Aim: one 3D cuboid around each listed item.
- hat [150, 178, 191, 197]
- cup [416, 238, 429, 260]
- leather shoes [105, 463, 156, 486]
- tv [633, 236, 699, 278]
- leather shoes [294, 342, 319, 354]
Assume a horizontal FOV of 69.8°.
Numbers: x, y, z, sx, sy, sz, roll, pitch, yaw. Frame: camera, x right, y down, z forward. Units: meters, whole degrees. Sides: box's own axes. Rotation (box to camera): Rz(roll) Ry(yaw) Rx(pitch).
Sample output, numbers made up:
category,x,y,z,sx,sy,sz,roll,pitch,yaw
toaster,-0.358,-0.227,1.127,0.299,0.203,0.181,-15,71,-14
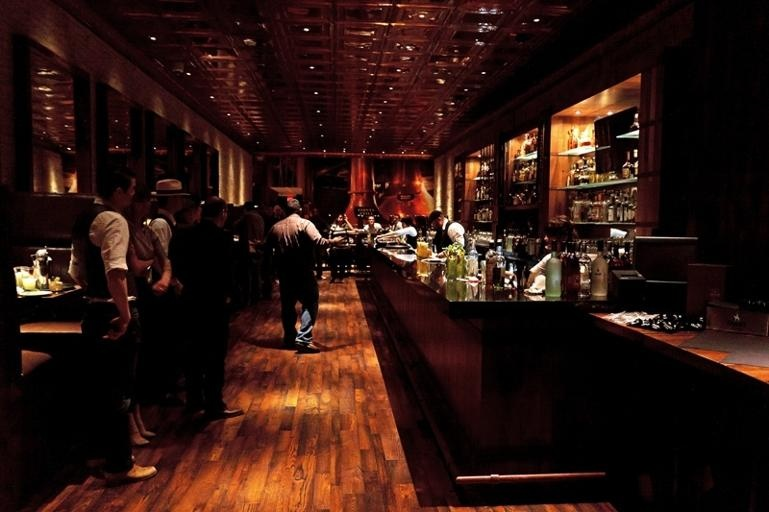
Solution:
category,x,y,z,sx,sy,sz,roll,pitch,yaw
hat,-2.568,-0.773,6.421,0.507,0.182,0.452,1,2,14
cup,0.486,-0.070,6.835,0.202,0.345,0.201,-1,4,0
leather shoes,-1.928,1.658,4.250,0.400,0.174,0.138,-2,3,-22
tv,2.133,0.005,4.298,0.506,0.470,0.306,1,-2,2
leather shoes,-0.979,1.145,6.920,0.364,0.159,0.119,3,-1,-11
